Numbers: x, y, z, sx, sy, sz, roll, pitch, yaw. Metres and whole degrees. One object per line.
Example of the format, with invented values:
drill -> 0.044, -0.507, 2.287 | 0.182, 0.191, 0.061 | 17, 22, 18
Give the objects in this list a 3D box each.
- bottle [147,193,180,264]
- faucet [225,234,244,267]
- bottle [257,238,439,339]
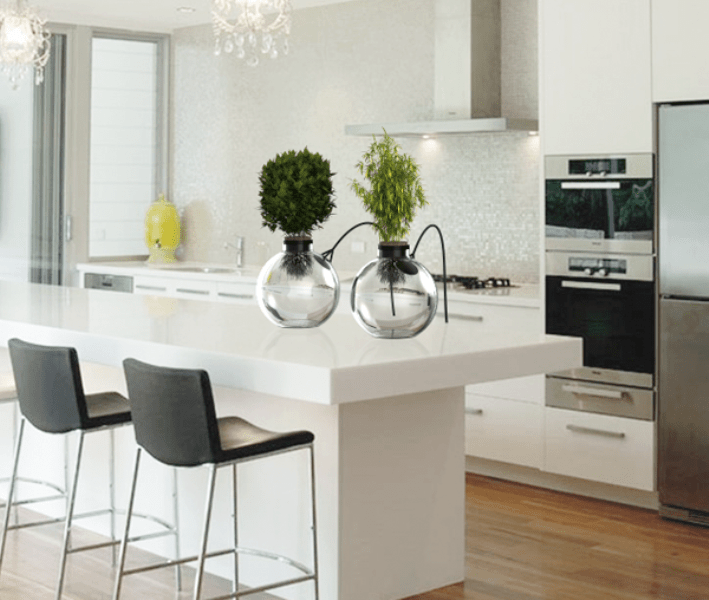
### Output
bottle -> -1.882, -0.676, 6.449 | 0.311, 0.651, 0.209 | 0, 2, -20
faucet -> -1.117, -0.449, 6.165 | 0.167, 0.310, 0.531 | 0, 2, -25
bottle -> -0.039, -0.041, 2.180 | 0.628, 0.329, 0.222 | 1, 2, 32
